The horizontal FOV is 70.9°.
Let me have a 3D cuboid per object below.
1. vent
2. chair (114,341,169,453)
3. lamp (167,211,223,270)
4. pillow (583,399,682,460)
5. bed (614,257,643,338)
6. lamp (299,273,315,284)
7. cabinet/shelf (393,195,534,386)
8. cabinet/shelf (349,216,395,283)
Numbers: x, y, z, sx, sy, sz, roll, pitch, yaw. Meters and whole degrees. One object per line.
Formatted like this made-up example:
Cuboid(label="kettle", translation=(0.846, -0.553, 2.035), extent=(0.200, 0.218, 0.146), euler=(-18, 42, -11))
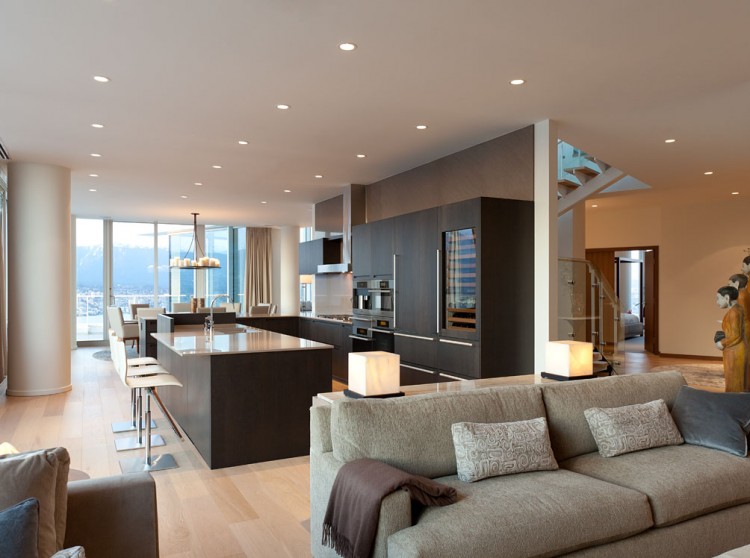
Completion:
Cuboid(label="vent", translation=(-0.366, -0.786, 9.128), extent=(0.214, 1.325, 1.735), euler=(14, 2, 5))
Cuboid(label="chair", translation=(-2.374, 1.257, 5.400), extent=(0.382, 0.840, 0.976), euler=(-1, 1, -24))
Cuboid(label="lamp", translation=(-3.275, -0.733, 9.667), extent=(0.898, 1.034, 0.936), euler=(6, 9, 20))
Cuboid(label="pillow", translation=(1.640, 0.959, 3.301), extent=(0.502, 0.316, 0.141), euler=(-8, -17, -8))
Cuboid(label="bed", translation=(6.909, 0.402, 14.398), extent=(0.671, 2.164, 2.537), euler=(-1, 12, 26))
Cuboid(label="lamp", translation=(-1.331, 0.009, 10.407), extent=(0.273, 0.195, 0.280), euler=(0, -3, -5))
Cuboid(label="cabinet/shelf", translation=(0.956, 0.146, 5.446), extent=(0.705, 2.118, 2.068), euler=(2, -5, -20))
Cuboid(label="cabinet/shelf", translation=(-0.025, -0.382, 7.049), extent=(0.327, 0.761, 0.997), euler=(1, -2, -21))
